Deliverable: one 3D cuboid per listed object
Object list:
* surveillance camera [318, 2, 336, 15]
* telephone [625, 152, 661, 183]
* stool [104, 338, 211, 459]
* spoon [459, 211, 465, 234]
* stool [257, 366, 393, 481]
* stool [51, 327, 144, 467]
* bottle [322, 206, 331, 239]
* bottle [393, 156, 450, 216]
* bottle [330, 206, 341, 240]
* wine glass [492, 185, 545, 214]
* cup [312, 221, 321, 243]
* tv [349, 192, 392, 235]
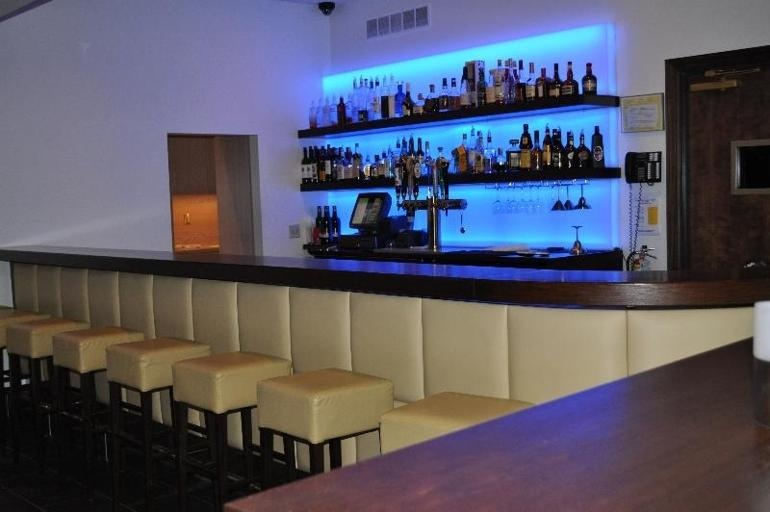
[{"bbox_3d":[-0.595,-2.552,6.356,0.166,0.110,0.169,4,14,37],"label":"surveillance camera"},{"bbox_3d":[1.962,-0.671,4.676,0.257,0.235,0.137,4,16,38],"label":"telephone"},{"bbox_3d":[-1.202,0.702,3.370,0.511,0.739,0.525,0,1,42],"label":"stool"},{"bbox_3d":[0.721,-0.311,5.793,0.057,0.206,0.106,-3,11,6],"label":"spoon"},{"bbox_3d":[-0.294,0.580,2.586,0.449,0.471,0.445,-7,9,-44],"label":"stool"},{"bbox_3d":[-1.699,0.794,3.535,0.427,0.672,0.424,2,-4,15],"label":"stool"},{"bbox_3d":[-0.608,-0.350,6.437,0.090,0.308,0.203,-6,11,-5],"label":"bottle"},{"bbox_3d":[0.285,-0.545,4.867,0.354,0.438,0.638,-6,11,-8],"label":"bottle"},{"bbox_3d":[-0.531,-0.356,6.522,0.107,0.322,0.245,-5,11,0],"label":"bottle"},{"bbox_3d":[1.116,-0.495,5.358,0.503,0.234,0.156,5,15,42],"label":"wine glass"},{"bbox_3d":[-0.712,-0.238,6.391,0.100,0.181,0.148,-14,15,-40],"label":"cup"},{"bbox_3d":[-0.138,-0.396,6.071,0.410,0.428,0.248,2,-3,38],"label":"tv"}]
